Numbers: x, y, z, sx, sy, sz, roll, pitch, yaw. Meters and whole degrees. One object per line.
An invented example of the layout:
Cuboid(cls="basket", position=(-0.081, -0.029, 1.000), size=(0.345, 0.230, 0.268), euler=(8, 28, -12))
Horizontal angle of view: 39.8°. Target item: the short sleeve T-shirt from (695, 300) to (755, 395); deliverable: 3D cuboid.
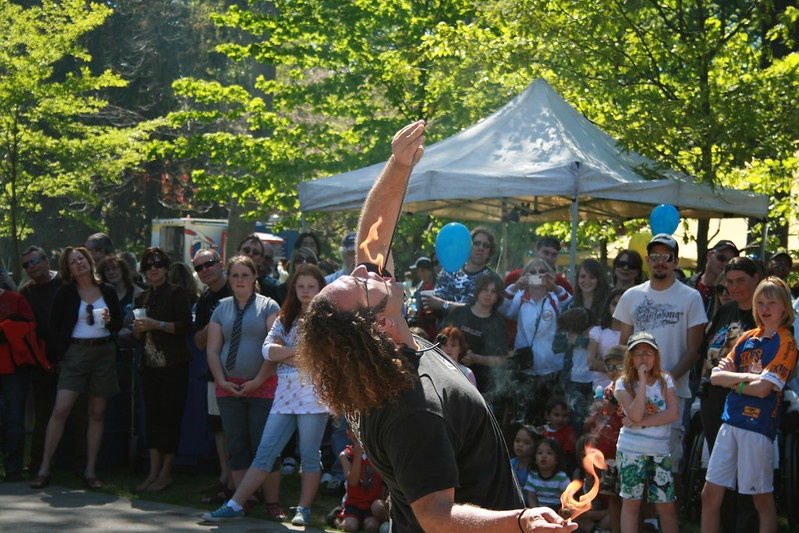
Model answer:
Cuboid(cls="short sleeve T-shirt", position=(4.121, 1.016, 14.076), size=(0.372, 1.097, 0.794), euler=(17, -10, -9))

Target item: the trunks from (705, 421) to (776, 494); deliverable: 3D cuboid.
Cuboid(cls="trunks", position=(4.195, 2.326, 13.435), size=(0.780, 0.790, 0.472), euler=(2, -23, 42))

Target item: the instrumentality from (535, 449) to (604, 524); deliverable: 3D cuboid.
Cuboid(cls="instrumentality", position=(1.999, 2.581, 12.922), size=(0.470, 0.470, 1.241), euler=(21, 48, 24))

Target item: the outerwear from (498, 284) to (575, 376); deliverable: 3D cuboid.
Cuboid(cls="outerwear", position=(1.895, 0.888, 15.297), size=(1.004, 1.239, 0.842), euler=(1, 1, 17))

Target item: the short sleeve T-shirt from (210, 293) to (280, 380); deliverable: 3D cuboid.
Cuboid(cls="short sleeve T-shirt", position=(-2.022, 0.971, 14.660), size=(1.007, 0.981, 0.389), euler=(-2, -15, 10))

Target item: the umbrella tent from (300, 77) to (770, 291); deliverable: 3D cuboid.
Cuboid(cls="umbrella tent", position=(2.486, -1.441, 16.519), size=(4.158, 1.751, 4.198), euler=(3, -4, -11))

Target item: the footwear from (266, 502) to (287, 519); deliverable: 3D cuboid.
Cuboid(cls="footwear", position=(-1.591, 3.197, 14.435), size=(0.130, 0.157, 0.327), euler=(9, -6, -42))

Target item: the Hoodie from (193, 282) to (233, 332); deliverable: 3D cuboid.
Cuboid(cls="Hoodie", position=(-2.521, 0.570, 15.135), size=(0.558, 0.561, 0.321), euler=(-6, -16, 30))

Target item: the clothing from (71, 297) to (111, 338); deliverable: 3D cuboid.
Cuboid(cls="clothing", position=(-4.315, 0.708, 15.426), size=(0.518, 0.579, 0.500), euler=(1, -3, -2))

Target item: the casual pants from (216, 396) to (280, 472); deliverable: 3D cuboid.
Cuboid(cls="casual pants", position=(-2.030, 2.134, 14.773), size=(0.748, 1.448, 0.493), euler=(11, 23, 11))

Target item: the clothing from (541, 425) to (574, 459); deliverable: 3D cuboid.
Cuboid(cls="clothing", position=(2.109, 2.230, 14.730), size=(0.543, 0.530, 0.310), euler=(1, -25, 4))

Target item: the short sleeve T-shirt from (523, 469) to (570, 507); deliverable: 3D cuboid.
Cuboid(cls="short sleeve T-shirt", position=(1.961, 2.872, 14.323), size=(0.634, 0.485, 0.362), euler=(-3, -2, 16))

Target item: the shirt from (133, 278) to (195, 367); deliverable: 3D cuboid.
Cuboid(cls="shirt", position=(-3.363, 0.806, 15.574), size=(0.937, 1.173, 0.662), euler=(-3, -1, 25))

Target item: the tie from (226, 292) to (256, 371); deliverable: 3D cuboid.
Cuboid(cls="tie", position=(-2.135, 0.889, 14.796), size=(0.291, 0.948, 0.121), euler=(8, -13, 1))

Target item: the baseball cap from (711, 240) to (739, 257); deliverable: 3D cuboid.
Cuboid(cls="baseball cap", position=(4.614, -0.284, 15.649), size=(0.228, 0.167, 0.313), euler=(20, -7, -4))
